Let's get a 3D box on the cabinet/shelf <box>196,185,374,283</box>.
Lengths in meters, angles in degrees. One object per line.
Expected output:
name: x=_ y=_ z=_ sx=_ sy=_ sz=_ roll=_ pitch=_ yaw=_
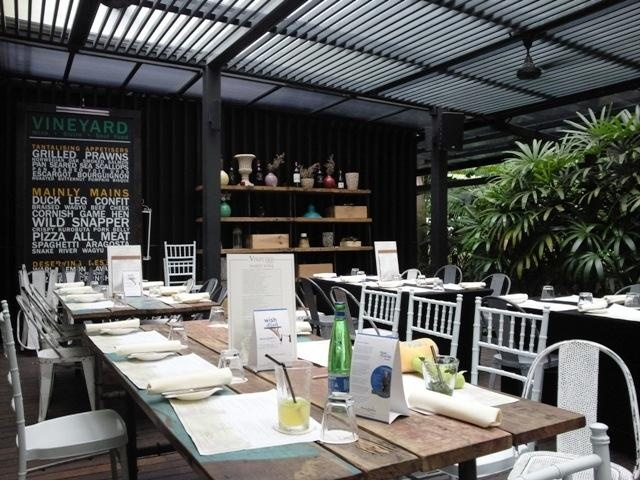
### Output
cabinet/shelf: x=-0.626 y=-0.176 z=6.882 sx=2.124 sy=1.015 sz=0.512 roll=0 pitch=-3 yaw=-23

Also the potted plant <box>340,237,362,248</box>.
potted plant: x=0.597 y=0.068 z=8.310 sx=0.233 sy=0.129 sz=0.315 roll=-1 pitch=-1 yaw=35

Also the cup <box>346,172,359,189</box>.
cup: x=0.636 y=-1.139 z=8.370 sx=0.354 sy=0.347 sz=0.329 roll=0 pitch=4 yaw=0

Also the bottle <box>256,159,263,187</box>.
bottle: x=-1.138 y=-1.251 z=7.929 sx=0.174 sy=0.469 sz=0.337 roll=-1 pitch=3 yaw=-6

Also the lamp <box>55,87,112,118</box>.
lamp: x=-3.704 y=-2.152 z=6.645 sx=0.778 sy=0.448 sz=0.376 roll=-1 pitch=7 yaw=-21

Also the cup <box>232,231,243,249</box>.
cup: x=-1.461 y=-0.026 z=7.528 sx=0.175 sy=0.351 sz=0.526 roll=-1 pitch=2 yaw=-11
